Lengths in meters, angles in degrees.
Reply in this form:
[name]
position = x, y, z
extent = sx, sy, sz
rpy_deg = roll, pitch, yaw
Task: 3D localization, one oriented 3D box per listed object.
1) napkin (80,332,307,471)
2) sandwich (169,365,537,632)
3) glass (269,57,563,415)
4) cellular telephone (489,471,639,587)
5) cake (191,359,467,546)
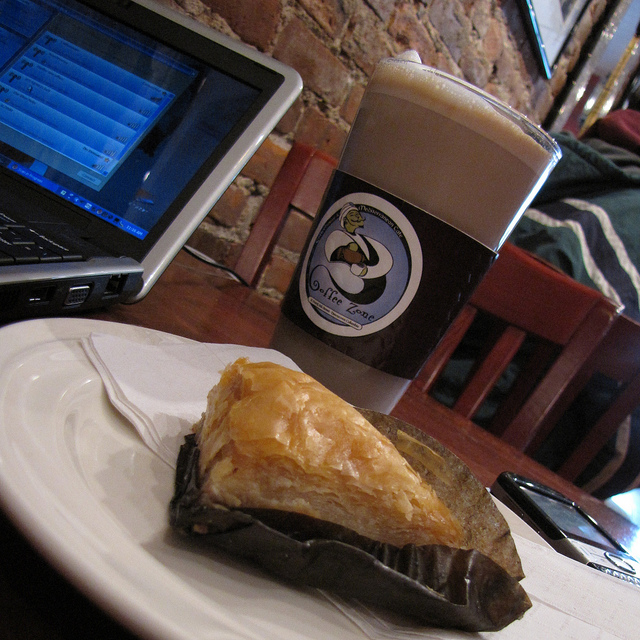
[napkin]
position = -0.087, 0.045, 0.335
extent = 0.081, 0.012, 0.081
rpy_deg = 36, 19, 33
[sandwich]
position = 0.022, 0.087, 0.272
extent = 0.144, 0.050, 0.112
rpy_deg = 27, 0, -15
[glass]
position = 0.042, -0.057, 0.387
extent = 0.131, 0.242, 0.061
rpy_deg = 36, 9, 23
[cellular telephone]
position = 0.183, 0.153, 0.474
extent = 0.074, 0.019, 0.134
rpy_deg = 26, 5, -31
[cake]
position = 0.005, 0.082, 0.299
extent = 0.115, 0.040, 0.081
rpy_deg = 24, 21, -18
